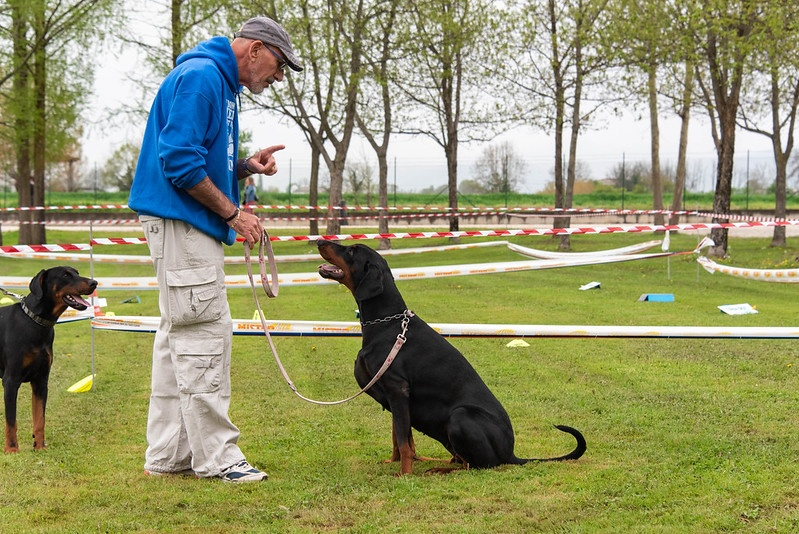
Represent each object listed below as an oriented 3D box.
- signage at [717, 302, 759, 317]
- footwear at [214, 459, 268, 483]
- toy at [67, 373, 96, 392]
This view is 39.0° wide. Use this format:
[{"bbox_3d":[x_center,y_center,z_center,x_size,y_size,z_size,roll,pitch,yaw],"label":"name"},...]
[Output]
[{"bbox_3d":[6.544,0.811,21.992,0.753,0.179,0.564,0,4,13],"label":"signage"},{"bbox_3d":[-2.324,3.033,16.749,0.747,0.286,0.296,-1,-4,8],"label":"footwear"},{"bbox_3d":[-5.277,1.961,18.926,0.260,0.094,0.350,4,23,29],"label":"toy"}]
